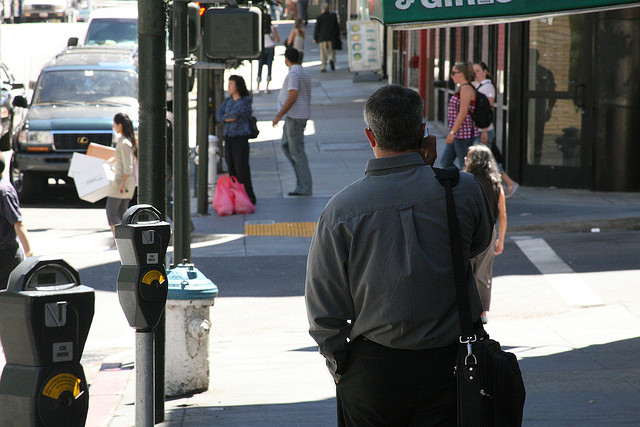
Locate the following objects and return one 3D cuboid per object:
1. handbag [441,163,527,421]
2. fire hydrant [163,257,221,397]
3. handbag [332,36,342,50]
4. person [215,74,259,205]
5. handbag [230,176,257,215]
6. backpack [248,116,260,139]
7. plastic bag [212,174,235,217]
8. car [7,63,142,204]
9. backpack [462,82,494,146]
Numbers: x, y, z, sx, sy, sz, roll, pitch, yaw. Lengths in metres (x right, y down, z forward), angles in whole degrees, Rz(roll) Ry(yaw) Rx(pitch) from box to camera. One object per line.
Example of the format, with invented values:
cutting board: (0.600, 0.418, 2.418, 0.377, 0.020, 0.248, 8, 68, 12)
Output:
handbag: (1.505, 0.868, 12.523, 0.907, 2.323, 0.566, 8, 16, 36)
fire hydrant: (-1.523, 1.329, 15.204, 0.538, 1.612, 0.676, 0, -3, -3)
handbag: (0.561, -5.548, 42.339, 0.281, 0.451, 0.546, -6, 10, 1)
person: (-1.372, -1.296, 21.879, 0.587, 2.351, 0.705, 1, 2, 28)
handbag: (-1.290, -0.311, 21.595, 0.414, 0.636, 0.385, -1, 14, 4)
backpack: (-1.144, -1.427, 21.919, 0.166, 0.460, 0.540, -3, 15, -2)
plastic bag: (-1.630, -0.281, 21.466, 0.394, 0.674, 0.239, 6, 16, 29)
car: (-4.689, -1.582, 24.761, 2.044, 2.451, 4.168, 0, 4, -1)
backpack: (2.645, -1.583, 21.206, 0.390, 0.895, 0.394, -1, 14, 7)
